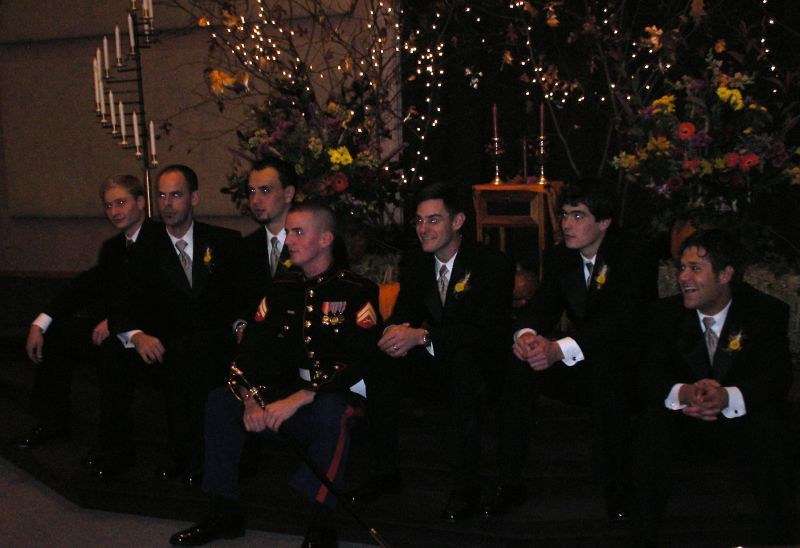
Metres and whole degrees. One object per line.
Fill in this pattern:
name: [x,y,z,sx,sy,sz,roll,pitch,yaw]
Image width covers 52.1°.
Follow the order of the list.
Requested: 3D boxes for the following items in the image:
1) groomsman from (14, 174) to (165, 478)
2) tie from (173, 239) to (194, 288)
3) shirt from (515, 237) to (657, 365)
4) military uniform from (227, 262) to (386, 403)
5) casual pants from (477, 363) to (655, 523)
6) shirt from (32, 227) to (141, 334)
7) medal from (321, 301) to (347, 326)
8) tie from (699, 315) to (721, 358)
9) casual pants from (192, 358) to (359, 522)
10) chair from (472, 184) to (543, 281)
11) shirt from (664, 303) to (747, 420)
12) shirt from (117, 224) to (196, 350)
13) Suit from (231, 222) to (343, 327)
groomsman: [-1.799,0.226,5.089,0.650,1.605,0.877,11,14,27]
tie: [-1.278,-0.064,4.848,0.087,0.279,0.015,-13,-9,-12]
shirt: [1.113,0.122,4.522,0.815,0.499,0.591,-26,32,-34]
military uniform: [-0.463,0.298,4.219,0.712,0.702,0.303,10,-15,19]
casual pants: [0.910,0.932,4.419,0.748,0.936,0.793,-5,-25,25]
shirt: [-1.857,0.099,5.049,0.286,0.809,0.538,29,6,33]
medal: [-0.348,0.203,4.210,0.130,0.117,0.035,-2,-5,7]
tie: [1.566,0.315,4.094,0.066,0.213,0.056,-1,-6,16]
casual pants: [-0.772,1.010,4.238,0.814,0.484,0.709,-5,-8,-37]
chair: [0.807,-0.357,6.208,0.544,0.523,0.399,0,-9,3]
shirt: [1.535,0.412,4.001,0.375,0.541,0.170,2,2,24]
shirt: [-1.409,0.089,4.707,0.420,0.683,0.200,4,-8,3]
Suit: [-0.771,-0.013,4.918,0.645,0.491,0.207,8,3,-4]
